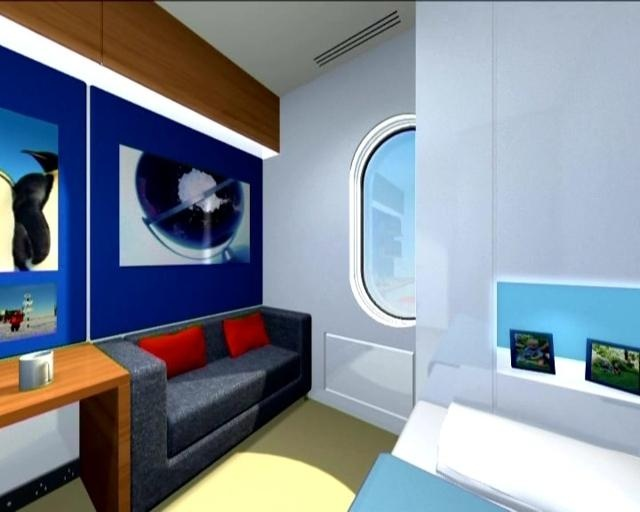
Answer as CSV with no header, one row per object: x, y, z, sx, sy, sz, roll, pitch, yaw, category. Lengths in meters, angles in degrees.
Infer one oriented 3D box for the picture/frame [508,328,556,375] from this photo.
1.102,0.501,2.293,0.191,0.216,0.016,-2,-19,22,picture/frame

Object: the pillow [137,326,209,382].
-0.958,0.644,3.031,0.411,0.313,0.155,-12,11,9,pillow

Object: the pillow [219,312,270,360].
-0.574,0.602,3.360,0.092,0.257,0.324,-32,-12,33,pillow

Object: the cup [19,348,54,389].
-1.422,0.579,2.299,0.122,0.172,0.186,3,4,10,cup

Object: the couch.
-0.668,0.914,3.054,0.578,0.876,1.526,1,4,41,couch
